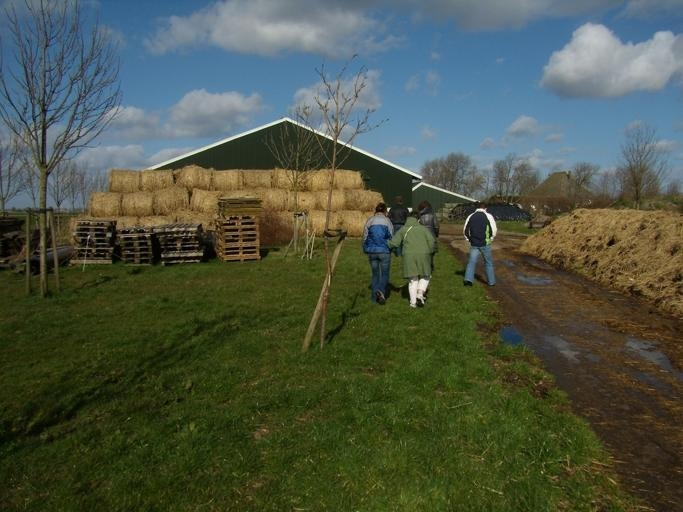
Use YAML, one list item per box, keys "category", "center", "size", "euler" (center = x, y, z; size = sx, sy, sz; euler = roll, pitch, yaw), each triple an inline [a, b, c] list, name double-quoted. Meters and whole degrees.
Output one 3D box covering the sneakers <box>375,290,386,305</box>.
- category: "sneakers"
  center: [1.015, 1.046, 11.517]
  size: [0.153, 0.484, 0.211]
  euler: [6, 34, 41]
